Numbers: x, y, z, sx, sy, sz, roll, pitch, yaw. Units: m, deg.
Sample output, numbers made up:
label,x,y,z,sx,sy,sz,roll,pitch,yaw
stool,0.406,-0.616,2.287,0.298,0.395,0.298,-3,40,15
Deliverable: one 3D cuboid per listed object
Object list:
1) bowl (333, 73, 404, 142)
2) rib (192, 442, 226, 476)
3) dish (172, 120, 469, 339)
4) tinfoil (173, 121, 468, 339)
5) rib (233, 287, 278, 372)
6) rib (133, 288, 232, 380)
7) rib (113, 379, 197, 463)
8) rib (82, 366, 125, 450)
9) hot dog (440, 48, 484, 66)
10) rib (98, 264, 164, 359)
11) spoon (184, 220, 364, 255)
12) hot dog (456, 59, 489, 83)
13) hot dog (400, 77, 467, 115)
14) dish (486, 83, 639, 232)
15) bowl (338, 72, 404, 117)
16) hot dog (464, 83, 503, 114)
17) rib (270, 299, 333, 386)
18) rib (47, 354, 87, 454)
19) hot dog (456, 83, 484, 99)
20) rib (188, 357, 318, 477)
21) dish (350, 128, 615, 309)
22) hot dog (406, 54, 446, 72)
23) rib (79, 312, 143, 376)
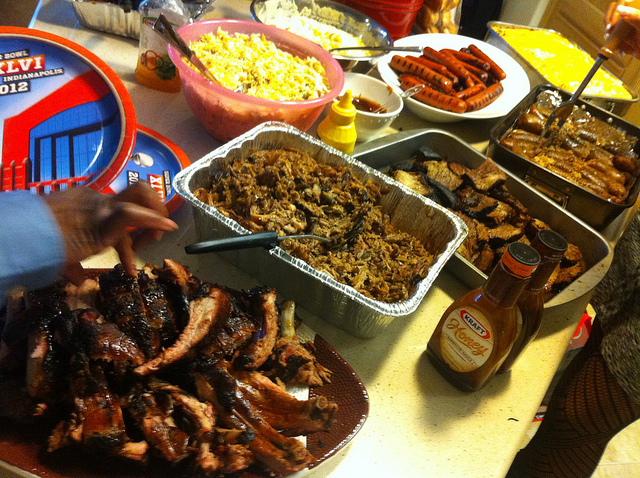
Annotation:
label,x,y,z,sx,sy,sz,roll,pitch,yaw
bowl,0.248,-0.695,2.283,0.400,0.186,0.389,11,46,-11
rib,-0.284,0.554,1.113,0.073,0.034,0.062,34,46,22
dish,-0.071,0.083,1.784,1.006,0.298,0.729,29,47,13
tinfoil,-0.081,0.117,1.708,1.002,0.299,0.732,29,47,14
rib,-0.184,0.284,1.364,0.123,0.082,0.341,-6,41,6
rib,-0.384,0.285,1.266,0.119,0.078,0.295,37,46,1
rib,-0.438,0.461,1.187,0.296,0.079,0.109,46,55,9
rib,-0.508,0.392,1.047,0.086,0.060,0.165,-5,78,-29
hot dog,0.847,-1.074,2.648,0.236,0.052,0.050,21,2,-1
rib,-0.518,0.191,1.207,0.133,0.061,0.251,-37,73,6
spoon,-0.140,-0.005,1.468,0.603,0.084,0.088,-1,27,-27
hot dog,0.883,-0.970,2.582,0.248,0.060,0.059,41,18,17
hot dog,0.604,-0.762,2.376,0.350,0.092,0.101,28,38,5
dish,1.325,-0.381,2.537,0.873,0.242,0.933,35,49,13
bowl,0.254,-0.720,2.240,0.300,0.105,0.304,13,42,-12
hot dog,0.961,-0.803,2.519,0.097,0.311,0.073,45,79,-15
rib,-0.041,0.307,1.321,0.158,0.074,0.205,12,51,-24
rib,-0.608,0.401,1.106,0.109,0.063,0.239,7,62,-54
hot dog,0.835,-0.814,2.459,0.213,0.053,0.066,-26,80,-36
rib,-0.194,0.482,1.251,0.175,0.132,0.476,-33,67,-26
dish,0.638,-0.092,2.240,1.232,0.183,0.724,41,46,14
hot dog,0.604,-0.989,2.517,0.229,0.053,0.047,27,68,16
rib,-0.543,0.270,1.149,0.120,0.087,0.158,-19,51,-30
